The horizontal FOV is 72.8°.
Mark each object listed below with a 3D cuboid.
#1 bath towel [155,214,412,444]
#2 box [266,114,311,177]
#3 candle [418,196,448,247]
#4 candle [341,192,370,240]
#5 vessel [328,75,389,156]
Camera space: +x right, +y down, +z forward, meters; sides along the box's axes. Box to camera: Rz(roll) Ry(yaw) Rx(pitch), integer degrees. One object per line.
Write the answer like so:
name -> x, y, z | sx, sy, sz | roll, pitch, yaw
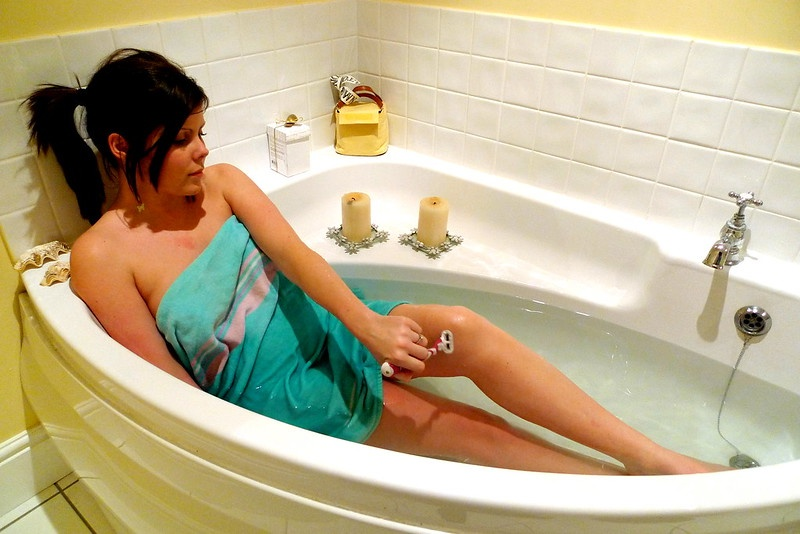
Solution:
bath towel -> -0.300, 0.203, 1.646 | 0.783, 0.382, 0.550 | 12, 43, 6
box -> -0.449, -0.505, 2.230 | 0.156, 0.206, 0.143 | -18, 35, -36
candle -> 0.133, -0.174, 2.146 | 0.121, 0.183, 0.115 | 17, 35, 31
candle -> -0.176, -0.208, 2.191 | 0.121, 0.187, 0.114 | 15, 36, 20
vessel -> -0.169, -0.664, 2.400 | 0.255, 0.331, 0.194 | 0, 29, 0
